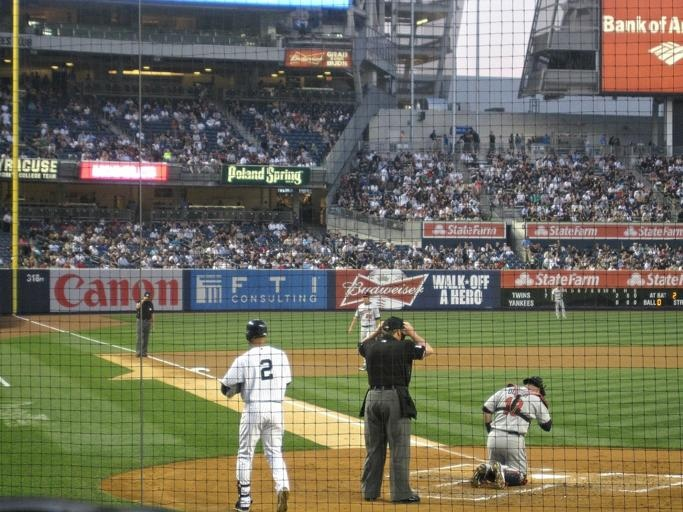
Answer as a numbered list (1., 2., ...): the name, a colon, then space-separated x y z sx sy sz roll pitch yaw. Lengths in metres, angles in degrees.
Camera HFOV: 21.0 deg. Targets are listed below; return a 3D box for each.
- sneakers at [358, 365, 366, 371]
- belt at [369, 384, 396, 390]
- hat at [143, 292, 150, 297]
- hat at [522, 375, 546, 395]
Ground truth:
1. sneakers: 0.862 4.961 81.602 0.185 0.269 0.554 1 2 -12
2. belt: 1.547 5.166 72.601 0.953 0.203 0.202 2 0 1
3. hat: -8.848 1.673 82.499 0.248 0.319 0.325 0 -3 0
4. hat: 7.741 5.147 73.447 0.758 0.480 0.613 2 7 -31
